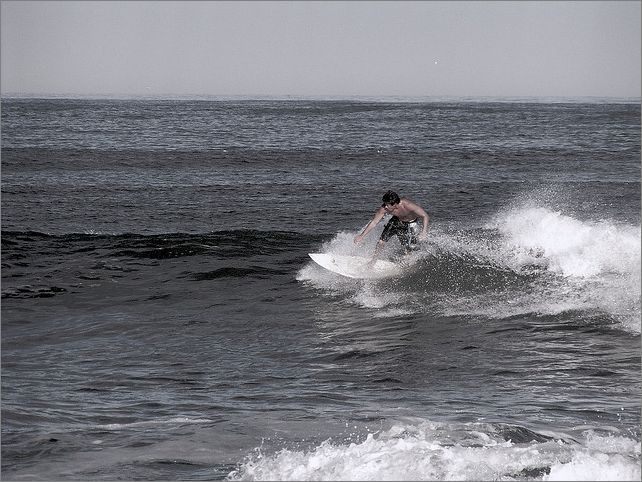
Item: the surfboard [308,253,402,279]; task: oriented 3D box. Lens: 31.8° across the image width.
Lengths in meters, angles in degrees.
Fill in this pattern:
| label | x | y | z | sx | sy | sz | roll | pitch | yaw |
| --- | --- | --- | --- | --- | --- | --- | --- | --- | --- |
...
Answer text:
| label | x | y | z | sx | sy | sz | roll | pitch | yaw |
| --- | --- | --- | --- | --- | --- | --- | --- | --- | --- |
| surfboard | 0.670 | 0.585 | 26.741 | 2.241 | 0.551 | 0.275 | 5 | -35 | 26 |
